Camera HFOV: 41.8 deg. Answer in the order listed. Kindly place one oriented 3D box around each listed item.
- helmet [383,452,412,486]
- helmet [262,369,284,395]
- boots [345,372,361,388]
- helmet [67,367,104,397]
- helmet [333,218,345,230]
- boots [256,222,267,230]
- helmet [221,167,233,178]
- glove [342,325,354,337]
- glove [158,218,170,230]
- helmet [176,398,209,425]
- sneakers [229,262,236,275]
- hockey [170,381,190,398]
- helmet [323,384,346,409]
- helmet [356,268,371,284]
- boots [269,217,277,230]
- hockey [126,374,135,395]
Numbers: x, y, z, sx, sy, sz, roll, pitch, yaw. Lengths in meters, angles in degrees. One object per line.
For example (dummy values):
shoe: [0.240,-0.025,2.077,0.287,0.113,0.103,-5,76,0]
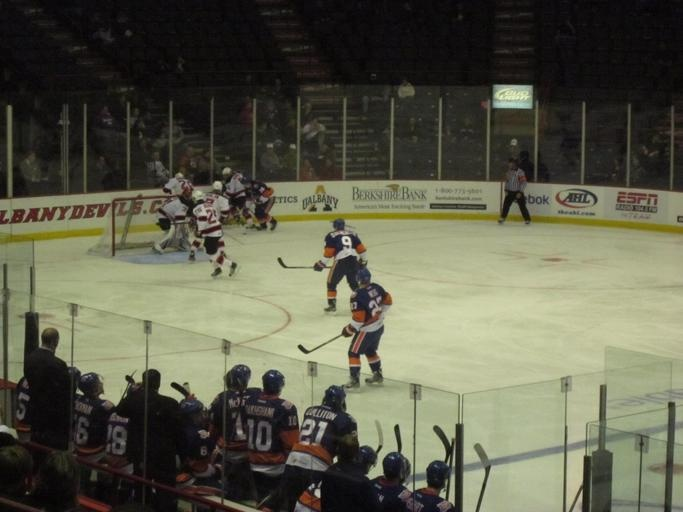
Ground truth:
helmet: [0.472,1.721,7.367,0.231,0.262,0.283,5,17,21]
helmet: [-0.580,1.095,7.962,0.191,0.204,0.234,9,18,10]
boots: [0.113,1.086,7.861,0.163,0.140,0.064,-7,15,-34]
helmet: [-2.376,1.168,8.442,0.323,0.270,0.239,-11,25,-40]
helmet: [-0.016,-0.539,14.888,0.178,0.177,0.215,-2,18,-14]
boots: [-1.998,-0.775,22.493,0.284,0.185,0.489,-1,11,-8]
helmet: [-2.794,-2.099,22.061,0.267,0.295,0.308,3,-27,2]
glove: [0.110,0.968,11.326,0.165,0.113,0.166,-6,15,-21]
glove: [-3.818,-0.693,19.266,0.290,0.281,0.137,0,12,-2]
helmet: [-1.305,1.374,7.951,0.192,0.192,0.228,9,23,16]
sneakers: [-2.038,0.221,16.832,0.129,0.271,0.094,6,35,-11]
hockey: [-1.433,1.187,7.976,0.124,0.039,0.118,30,21,4]
helmet: [-0.043,1.219,7.811,0.175,0.192,0.218,7,10,20]
helmet: [0.273,0.246,11.384,0.161,0.183,0.195,-1,18,-9]
boots: [-1.695,-0.808,22.380,0.133,0.348,0.255,3,25,-22]
hockey: [-1.898,1.138,8.059,0.043,0.126,0.136,10,10,-36]
